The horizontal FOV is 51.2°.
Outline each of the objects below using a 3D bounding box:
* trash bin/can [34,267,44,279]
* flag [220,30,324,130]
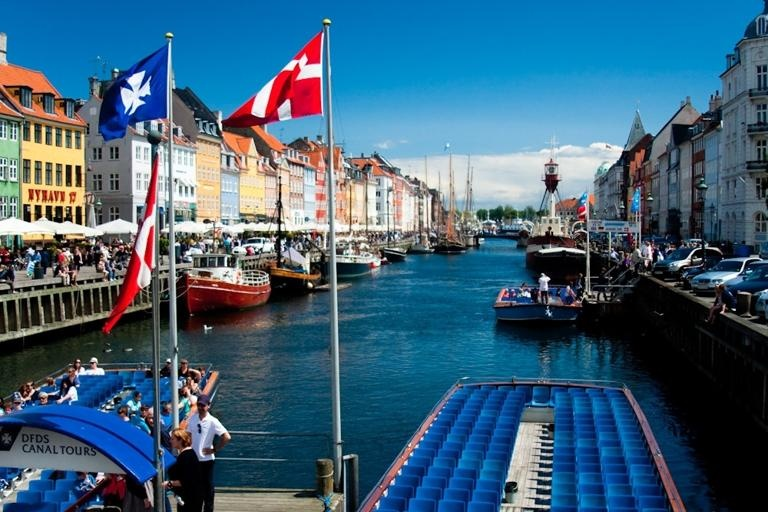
[{"bbox_3d":[-19.737,1.053,46.038,0.576,0.807,0.599,-2,-4,33],"label":"trash bin/can"},{"bbox_3d":[-2.989,-4.915,22.274,2.834,2.569,0.378,-5,-9,10],"label":"flag"}]
